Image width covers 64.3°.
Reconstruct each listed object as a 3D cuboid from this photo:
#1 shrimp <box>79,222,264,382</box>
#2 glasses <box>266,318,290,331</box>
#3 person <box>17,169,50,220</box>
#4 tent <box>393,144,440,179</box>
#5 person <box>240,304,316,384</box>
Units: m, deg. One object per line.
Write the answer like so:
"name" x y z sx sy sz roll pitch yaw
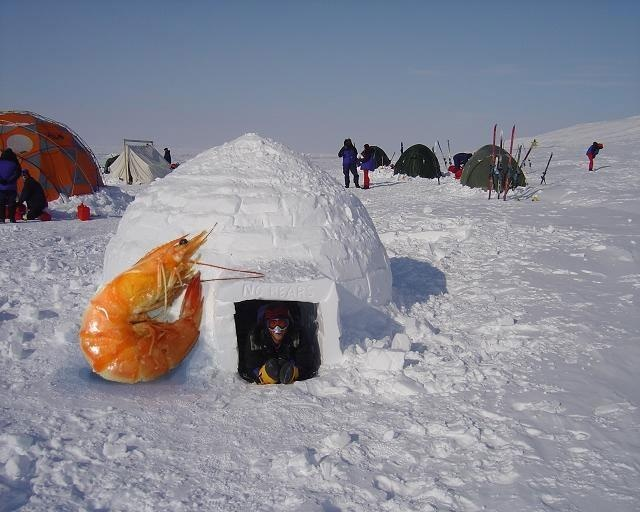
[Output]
"shrimp" -1.761 0.569 5.269 1.323 1.518 0.382 -12 18 -28
"glasses" -0.468 0.751 5.645 0.253 0.100 0.155 -1 10 -5
"person" -7.169 -1.596 12.624 0.967 1.149 0.844 5 16 -16
"tent" 4.084 -4.108 21.285 1.924 1.058 1.768 -11 30 -25
"person" -0.509 1.026 5.803 0.819 0.816 0.372 3 -27 -5
